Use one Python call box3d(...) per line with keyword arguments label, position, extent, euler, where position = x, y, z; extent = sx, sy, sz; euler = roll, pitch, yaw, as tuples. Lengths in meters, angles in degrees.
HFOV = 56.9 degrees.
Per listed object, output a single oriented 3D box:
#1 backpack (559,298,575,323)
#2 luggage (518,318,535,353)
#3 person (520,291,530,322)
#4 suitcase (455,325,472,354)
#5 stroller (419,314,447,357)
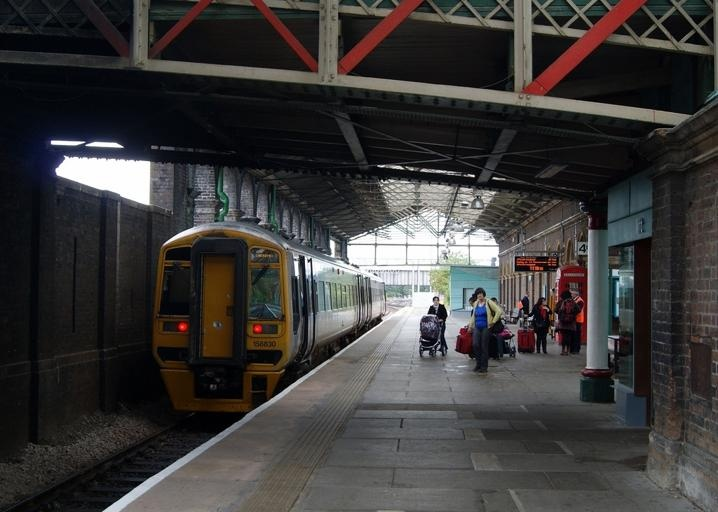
box3d(label="backpack", position=(6.279, 1.643, 19.932), extent=(0.469, 0.748, 0.424), euler=(0, -1, 14))
box3d(label="luggage", position=(5.294, 2.564, 21.359), extent=(0.662, 1.163, 0.637), euler=(2, -6, -13))
box3d(label="person", position=(7.669, 2.346, 30.488), extent=(0.425, 0.609, 1.388), euler=(10, -17, 17))
box3d(label="suitcase", position=(2.959, 2.282, 18.101), extent=(0.462, 0.792, 0.773), euler=(3, 5, 15))
box3d(label="stroller", position=(2.247, 2.523, 20.336), extent=(0.750, 1.352, 1.328), euler=(-3, -18, 15))
